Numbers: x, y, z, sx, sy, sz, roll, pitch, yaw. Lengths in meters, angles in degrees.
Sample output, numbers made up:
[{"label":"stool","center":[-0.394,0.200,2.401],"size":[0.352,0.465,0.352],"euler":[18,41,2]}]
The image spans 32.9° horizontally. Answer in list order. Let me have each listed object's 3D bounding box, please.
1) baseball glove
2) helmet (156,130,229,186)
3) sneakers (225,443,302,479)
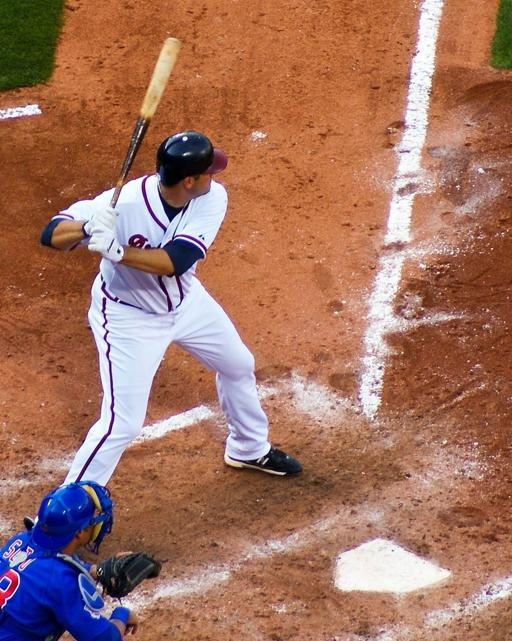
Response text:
[{"label":"baseball glove","center":[-0.848,1.453,4.926],"size":[0.410,0.199,0.506],"euler":[5,-17,-35]},{"label":"helmet","center":[-0.394,-0.941,5.024],"size":[0.422,0.222,0.263],"euler":[-19,56,-13]},{"label":"sneakers","center":[0.004,1.031,6.202],"size":[0.680,0.234,0.177],"euler":[5,56,0]}]
